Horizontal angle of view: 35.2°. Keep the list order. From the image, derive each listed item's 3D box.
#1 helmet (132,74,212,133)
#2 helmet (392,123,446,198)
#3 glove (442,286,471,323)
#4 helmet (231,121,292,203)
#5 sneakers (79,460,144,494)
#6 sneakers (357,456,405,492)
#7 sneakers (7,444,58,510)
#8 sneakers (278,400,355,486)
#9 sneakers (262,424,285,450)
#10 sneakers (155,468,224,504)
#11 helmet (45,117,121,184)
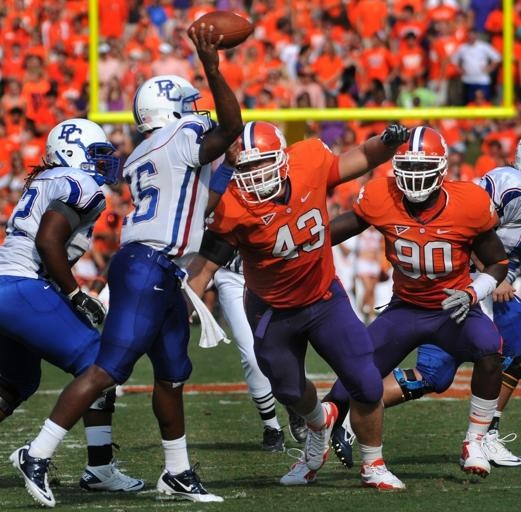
[{"bbox_3d":[-0.484,-0.721,3.951,0.460,0.299,0.320,-12,11,-44],"label":"helmet"},{"bbox_3d":[0.781,-0.446,3.907,0.298,0.275,0.369,6,23,27],"label":"helmet"},{"bbox_3d":[0.918,0.218,3.778,0.127,0.149,0.184,-3,16,19],"label":"glove"},{"bbox_3d":[0.004,-0.453,3.742,0.295,0.307,0.393,-6,16,17],"label":"helmet"},{"bbox_3d":[-0.683,1.015,3.770,0.367,0.135,0.109,2,-4,-7],"label":"sneakers"},{"bbox_3d":[0.538,0.989,3.714,0.090,0.095,0.244,5,-8,-41],"label":"sneakers"},{"bbox_3d":[-0.911,0.909,3.335,0.141,0.285,0.199,-13,17,-10],"label":"sneakers"},{"bbox_3d":[0.214,0.914,3.967,0.158,0.481,0.232,28,-3,46],"label":"sneakers"},{"bbox_3d":[0.075,1.024,4.593,0.106,0.109,0.287,-1,-12,6],"label":"sneakers"},{"bbox_3d":[-0.321,0.989,3.544,0.333,0.115,0.106,7,-5,12],"label":"sneakers"},{"bbox_3d":[-0.867,-0.521,3.945,0.393,0.260,0.269,3,8,-19],"label":"helmet"}]
